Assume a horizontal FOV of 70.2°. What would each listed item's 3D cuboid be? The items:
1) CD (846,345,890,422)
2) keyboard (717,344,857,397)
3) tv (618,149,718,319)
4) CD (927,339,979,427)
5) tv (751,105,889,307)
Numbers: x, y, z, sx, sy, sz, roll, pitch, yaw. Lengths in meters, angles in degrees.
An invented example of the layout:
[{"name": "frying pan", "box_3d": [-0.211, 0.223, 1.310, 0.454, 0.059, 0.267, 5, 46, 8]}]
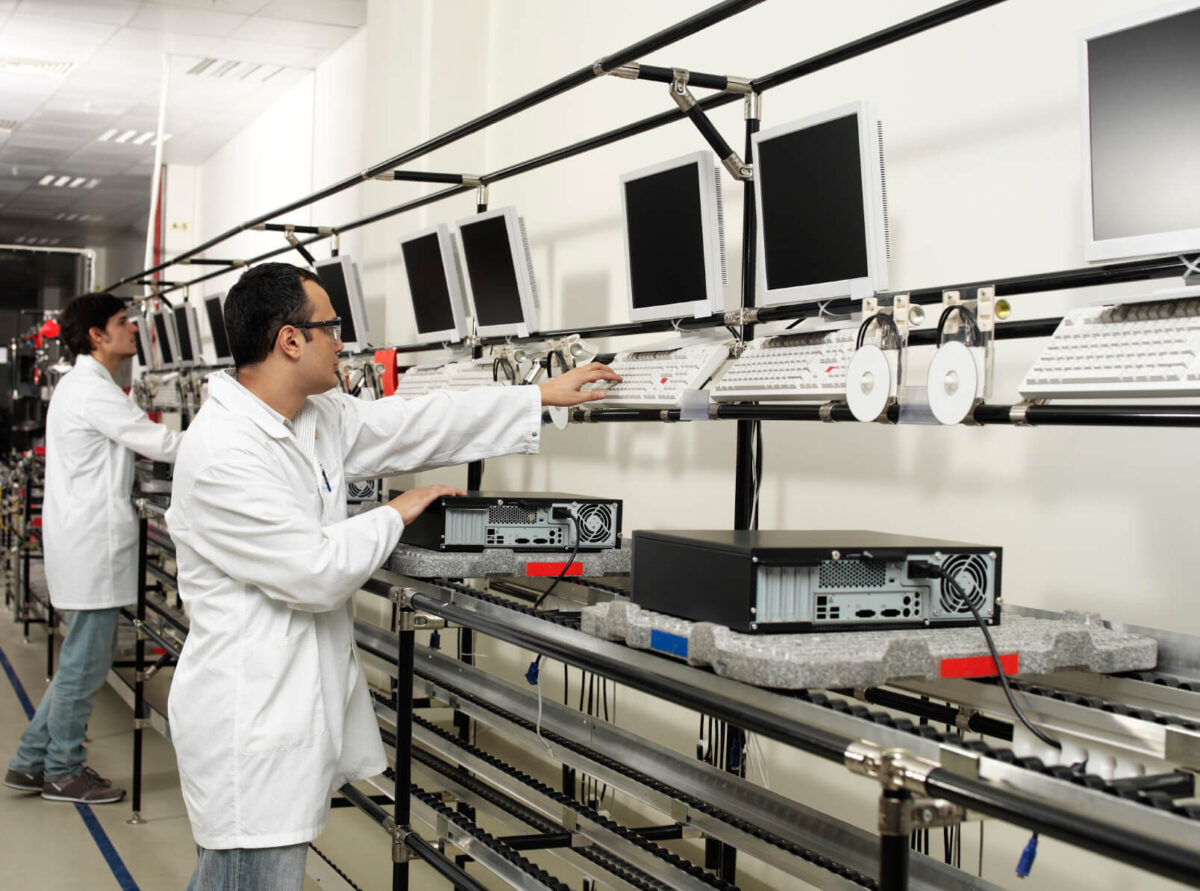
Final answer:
[{"name": "CD", "box_3d": [0.580, -0.134, 1.844, 0.117, 0.162, 0.057, 3, 5, 41]}, {"name": "keyboard", "box_3d": [0.451, -0.181, 2.104, 0.127, 0.139, 0.441, -4, 6, -35]}, {"name": "tv", "box_3d": [0.206, -0.601, 2.533, 0.077, 0.460, 0.367, -4, 5, -40]}, {"name": "CD", "box_3d": [0.711, -0.125, 1.720, 0.042, 0.165, 0.122, -4, 5, -37]}, {"name": "tv", "box_3d": [0.535, -0.580, 2.112, 0.067, 0.444, 0.346, -4, 5, -38]}]
